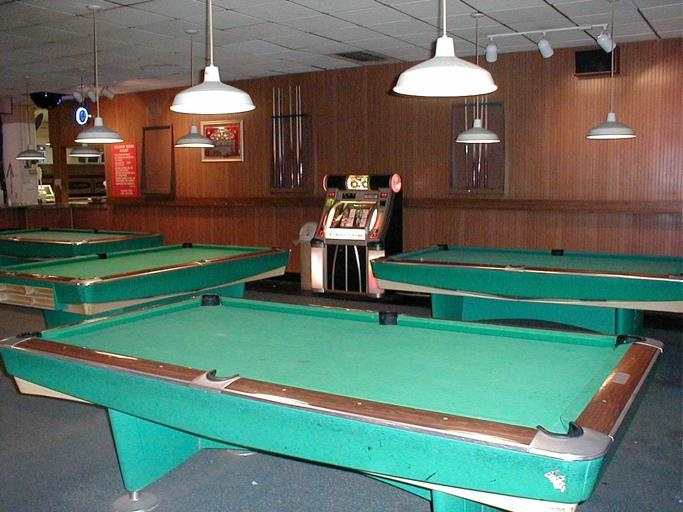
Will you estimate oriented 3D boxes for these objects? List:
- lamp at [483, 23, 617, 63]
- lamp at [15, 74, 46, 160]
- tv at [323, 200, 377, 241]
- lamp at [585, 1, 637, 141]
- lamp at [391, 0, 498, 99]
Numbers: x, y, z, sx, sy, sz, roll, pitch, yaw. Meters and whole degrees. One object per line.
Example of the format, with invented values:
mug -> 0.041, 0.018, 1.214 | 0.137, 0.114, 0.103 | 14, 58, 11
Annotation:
lamp -> 2.212, -2.297, 5.459 | 1.357, 0.245, 0.146 | 1, 27, 16
lamp -> -5.663, -2.346, 9.032 | 0.454, 1.232, 3.072 | -9, 13, -29
tv -> 0.204, -0.483, 7.341 | 1.185, 0.555, 0.647 | 1, 2, 29
lamp -> 2.748, -1.803, 5.111 | 0.477, 1.237, 2.122 | 5, 13, 27
lamp -> 0.490, -0.918, 2.387 | 0.404, 0.276, 0.340 | -4, 12, -15
